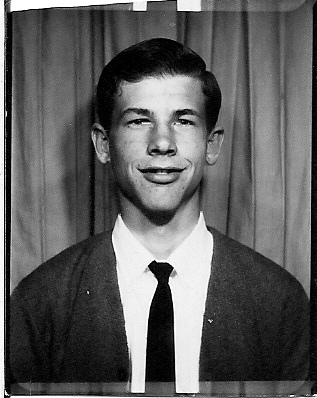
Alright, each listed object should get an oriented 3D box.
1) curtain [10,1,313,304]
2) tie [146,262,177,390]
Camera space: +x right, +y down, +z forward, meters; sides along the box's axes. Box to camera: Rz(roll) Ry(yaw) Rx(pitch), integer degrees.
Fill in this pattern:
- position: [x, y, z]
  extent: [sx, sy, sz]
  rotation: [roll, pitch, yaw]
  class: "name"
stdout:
- position: [-0.028, -0.107, 1.892]
  extent: [0.853, 0.942, 0.042]
  rotation: [0, 0, -2]
  class: "curtain"
- position: [0.010, 0.375, 1.871]
  extent: [0.086, 0.354, 0.082]
  rotation: [1, 9, 1]
  class: "tie"
